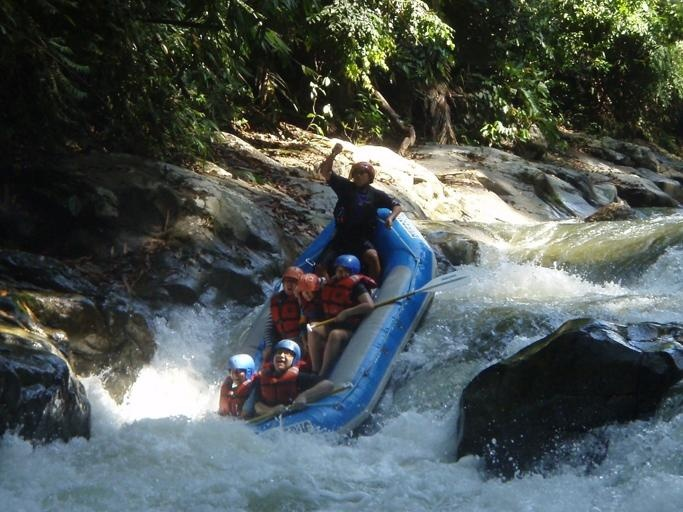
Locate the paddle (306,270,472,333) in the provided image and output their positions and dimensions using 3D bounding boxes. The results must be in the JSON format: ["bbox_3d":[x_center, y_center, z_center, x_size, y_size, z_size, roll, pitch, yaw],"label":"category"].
[{"bbox_3d":[0.513,0.554,10.003,1.658,0.260,0.132,-20,14,-12],"label":"paddle"}]

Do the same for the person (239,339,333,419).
[{"bbox_3d":[-0.697,1.440,9.290,0.752,0.469,1.121,-4,22,-3],"label":"person"}]

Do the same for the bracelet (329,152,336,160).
[{"bbox_3d":[-0.107,-1.211,10.334,0.064,0.071,0.116,10,4,-3],"label":"bracelet"}]

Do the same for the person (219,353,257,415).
[{"bbox_3d":[-1.210,1.576,9.572,0.386,0.880,0.263,4,32,-11],"label":"person"}]

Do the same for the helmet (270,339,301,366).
[{"bbox_3d":[-0.602,1.068,9.412,0.211,0.255,0.306,9,-11,31],"label":"helmet"}]

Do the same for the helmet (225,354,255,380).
[{"bbox_3d":[-1.122,1.209,9.534,0.266,0.223,0.236,-14,14,-40],"label":"helmet"}]

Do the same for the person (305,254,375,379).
[{"bbox_3d":[-0.083,0.730,9.868,0.827,1.548,0.769,-2,-9,43],"label":"person"}]

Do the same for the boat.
[{"bbox_3d":[0.384,0.782,9.839,1.496,3.116,0.631,19,-32,21],"label":"boat"}]

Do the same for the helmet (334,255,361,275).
[{"bbox_3d":[0.069,0.084,9.979,0.245,0.204,0.188,-17,18,-36],"label":"helmet"}]

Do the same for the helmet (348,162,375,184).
[{"bbox_3d":[0.267,-1.050,10.570,0.293,0.259,0.223,28,28,4],"label":"helmet"}]
